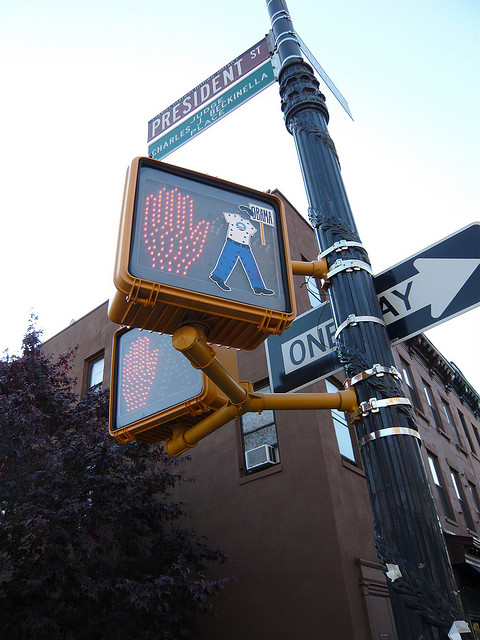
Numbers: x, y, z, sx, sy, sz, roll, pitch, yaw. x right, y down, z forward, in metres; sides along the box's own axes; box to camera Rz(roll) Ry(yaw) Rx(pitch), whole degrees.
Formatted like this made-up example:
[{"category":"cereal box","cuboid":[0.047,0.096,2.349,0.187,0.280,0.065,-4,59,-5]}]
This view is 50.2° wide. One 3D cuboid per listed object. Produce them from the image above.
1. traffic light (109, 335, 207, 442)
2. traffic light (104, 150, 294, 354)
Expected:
[{"category":"traffic light","cuboid":[-0.354,0.319,2.279,0.403,0.407,0.159,-28,-44,24]},{"category":"traffic light","cuboid":[-0.138,-0.227,1.900,0.798,0.779,0.302,10,-33,-23]}]
